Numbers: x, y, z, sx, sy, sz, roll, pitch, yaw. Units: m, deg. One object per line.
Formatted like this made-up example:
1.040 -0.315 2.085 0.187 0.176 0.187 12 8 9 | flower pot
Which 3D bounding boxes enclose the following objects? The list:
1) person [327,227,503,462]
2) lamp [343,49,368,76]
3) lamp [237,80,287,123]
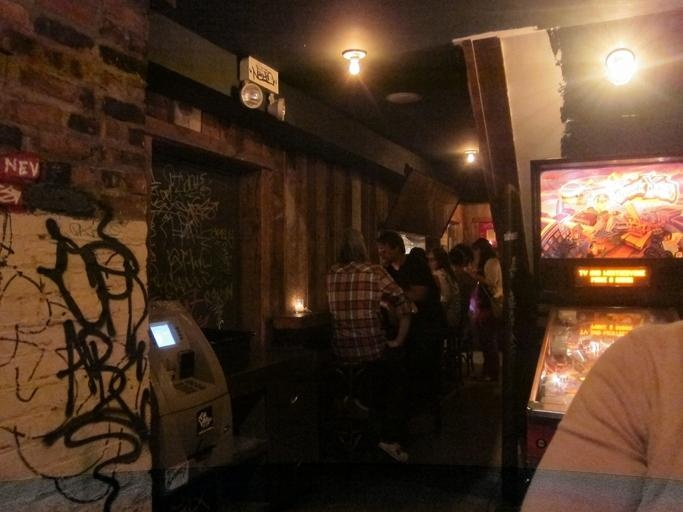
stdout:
0.351 0.611 3.758 0.608 1.527 1.382 -5 1 23 | person
0.093 -1.255 3.420 0.167 0.135 0.163 -10 14 -42 | lamp
-0.553 -1.021 3.418 0.178 0.163 0.370 1 -2 -3 | lamp
